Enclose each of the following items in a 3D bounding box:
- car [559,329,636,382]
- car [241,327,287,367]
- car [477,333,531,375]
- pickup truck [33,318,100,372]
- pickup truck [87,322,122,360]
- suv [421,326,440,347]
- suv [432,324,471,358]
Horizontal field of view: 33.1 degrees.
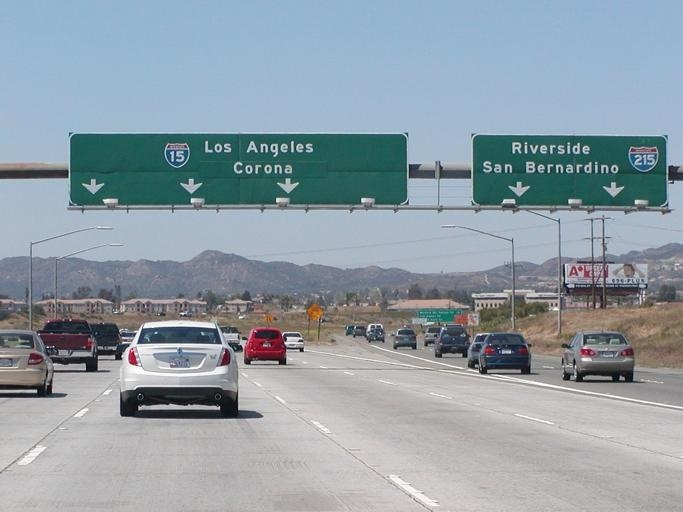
[{"bbox_3d":[8.619,3.369,38.921,2.003,1.991,2.852,1,-5,9],"label":"car"},{"bbox_3d":[-3.687,4.256,54.434,1.975,1.705,1.062,-1,-3,2],"label":"car"},{"bbox_3d":[6.265,3.771,44.979,1.831,1.669,2.541,0,-3,0],"label":"car"},{"bbox_3d":[-10.799,3.545,46.643,4.050,1.730,1.870,0,-1,10],"label":"pickup truck"},{"bbox_3d":[-11.888,4.161,57.662,1.344,1.275,2.603,1,3,-9],"label":"pickup truck"},{"bbox_3d":[7.906,7.163,102.033,1.548,1.356,3.409,0,2,1],"label":"suv"},{"bbox_3d":[6.395,4.907,67.273,1.216,1.217,2.470,0,3,-1],"label":"suv"}]
